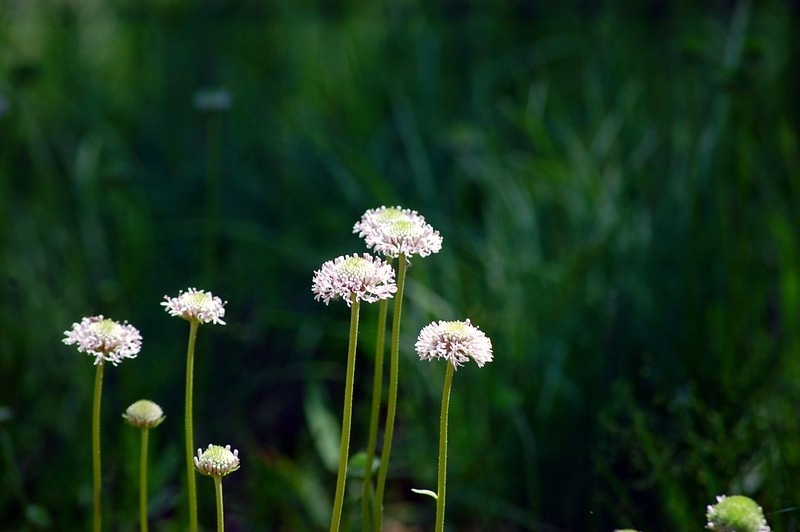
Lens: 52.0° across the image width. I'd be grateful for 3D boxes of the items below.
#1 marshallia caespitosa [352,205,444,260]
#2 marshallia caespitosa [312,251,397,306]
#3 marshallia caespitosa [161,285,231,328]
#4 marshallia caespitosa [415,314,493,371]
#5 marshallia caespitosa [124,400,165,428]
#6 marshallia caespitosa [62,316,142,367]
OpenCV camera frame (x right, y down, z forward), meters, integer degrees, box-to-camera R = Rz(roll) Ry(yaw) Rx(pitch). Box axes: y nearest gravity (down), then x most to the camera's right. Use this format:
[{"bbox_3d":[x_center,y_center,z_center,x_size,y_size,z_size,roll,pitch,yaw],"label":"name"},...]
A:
[{"bbox_3d":[0.007,-0.042,0.951,0.070,0.073,0.033,1,-57,-22],"label":"marshallia caespitosa"},{"bbox_3d":[-0.052,0.017,0.927,0.091,0.046,0.095,2,-16,-14],"label":"marshallia caespitosa"},{"bbox_3d":[-0.230,0.054,0.926,0.070,0.078,0.037,17,-86,25],"label":"marshallia caespitosa"},{"bbox_3d":[0.061,0.091,0.935,0.082,0.089,0.052,9,-81,27],"label":"marshallia caespitosa"},{"bbox_3d":[-0.301,0.161,0.958,0.036,0.038,0.025,13,-73,16],"label":"marshallia caespitosa"},{"bbox_3d":[-0.337,0.077,0.938,0.066,0.076,0.051,10,-86,24],"label":"marshallia caespitosa"}]
